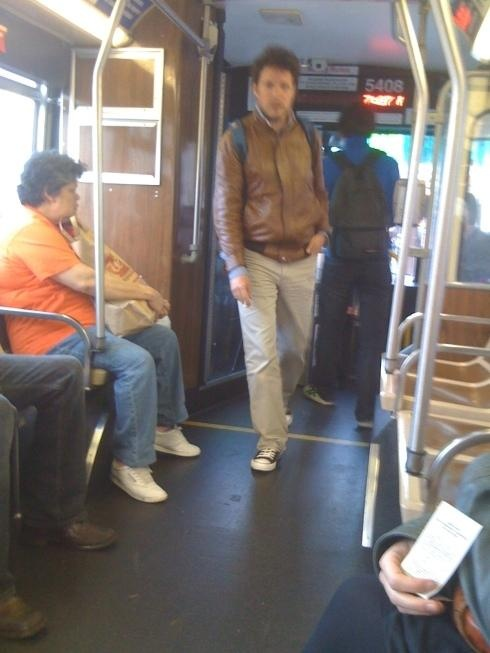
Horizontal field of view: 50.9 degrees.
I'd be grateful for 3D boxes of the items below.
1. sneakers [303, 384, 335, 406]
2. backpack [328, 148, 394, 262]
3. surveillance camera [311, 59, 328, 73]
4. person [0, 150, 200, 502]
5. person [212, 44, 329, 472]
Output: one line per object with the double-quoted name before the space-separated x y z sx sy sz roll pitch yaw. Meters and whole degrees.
"sneakers" 0.588 0.575 4.181 0.105 0.105 0.250 -11 30 -42
"backpack" 0.836 -0.918 3.727 0.428 0.873 0.474 2 5 -7
"surveillance camera" 0.704 -2.511 4.924 0.120 0.107 0.130 -2 8 -5
"person" -0.697 -0.184 3.111 1.095 2.452 1.044 1 11 -4
"person" 0.141 -0.293 2.717 0.374 2.068 0.609 7 7 44
